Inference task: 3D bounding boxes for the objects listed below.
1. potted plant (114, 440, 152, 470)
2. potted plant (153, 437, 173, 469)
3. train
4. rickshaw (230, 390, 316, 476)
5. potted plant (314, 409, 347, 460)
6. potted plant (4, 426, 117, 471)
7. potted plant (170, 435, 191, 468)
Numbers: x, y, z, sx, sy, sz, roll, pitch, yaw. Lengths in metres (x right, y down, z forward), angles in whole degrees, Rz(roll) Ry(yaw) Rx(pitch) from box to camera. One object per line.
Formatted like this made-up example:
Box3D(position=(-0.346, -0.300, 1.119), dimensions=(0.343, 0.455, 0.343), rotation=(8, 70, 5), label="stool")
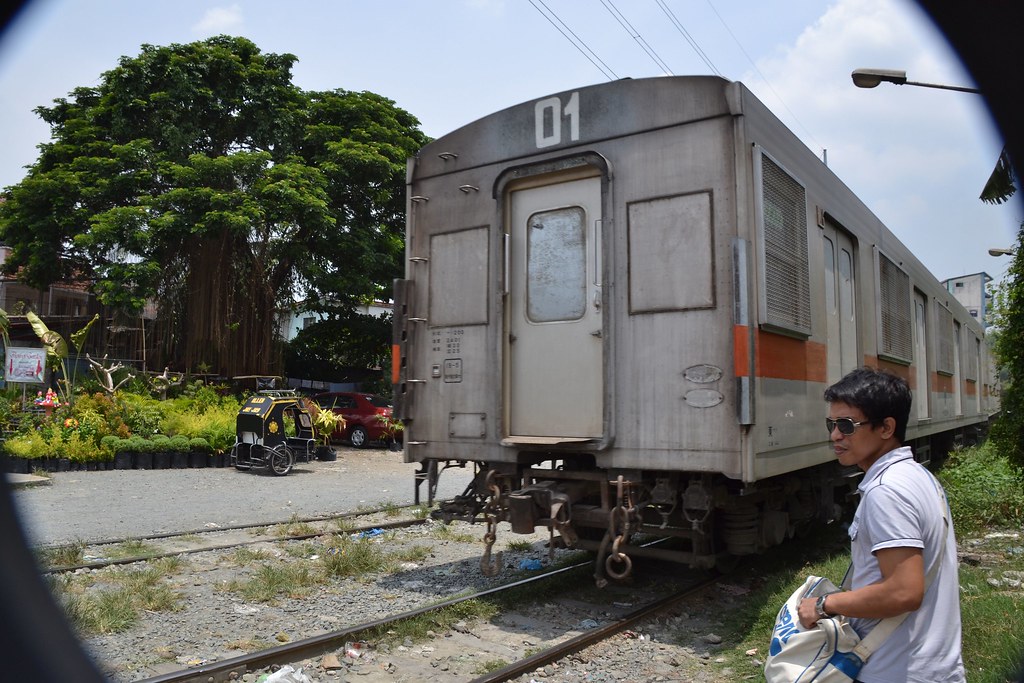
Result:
Box3D(position=(-7.961, 2.349, 14.282), dimensions=(0.706, 0.726, 0.549), rotation=(1, -1, -10), label="potted plant")
Box3D(position=(-7.514, 2.379, 14.496), dimensions=(0.548, 0.707, 0.532), rotation=(2, 0, -9), label="potted plant")
Box3D(position=(1.378, 0.118, 9.734), dimensions=(5.660, 5.019, 8.676), rotation=(-1, -4, 35), label="train")
Box3D(position=(-5.216, 2.026, 14.966), dimensions=(1.172, 1.815, 1.718), rotation=(-3, -6, 23), label="rickshaw")
Box3D(position=(-5.003, 2.491, 18.099), dimensions=(0.777, 1.188, 0.734), rotation=(13, -16, -28), label="potted plant")
Box3D(position=(-9.212, 2.168, 13.749), dimensions=(1.888, 0.826, 0.854), rotation=(2, -6, -32), label="potted plant")
Box3D(position=(-7.210, 2.388, 14.564), dimensions=(0.396, 0.696, 0.266), rotation=(2, -6, -29), label="potted plant")
